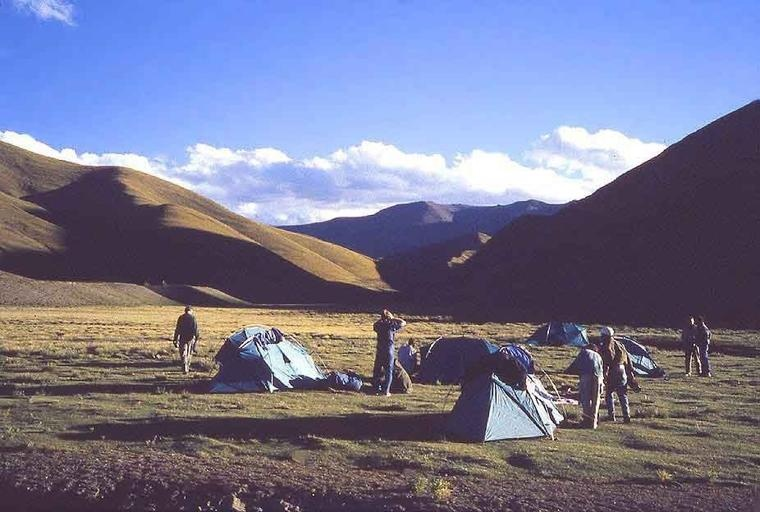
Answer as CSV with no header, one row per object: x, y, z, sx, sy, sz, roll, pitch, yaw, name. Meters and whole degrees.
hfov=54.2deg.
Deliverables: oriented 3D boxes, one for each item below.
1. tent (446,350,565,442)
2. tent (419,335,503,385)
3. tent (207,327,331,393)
4.699,5.480,29.504,3.860,2.123,3.181,-4,0,18,tent
3.482,4.998,36.236,2.579,1.221,2.600,-1,0,-27,tent
-5.154,5.030,33.827,3.205,1.438,3.675,-1,-3,30,tent
